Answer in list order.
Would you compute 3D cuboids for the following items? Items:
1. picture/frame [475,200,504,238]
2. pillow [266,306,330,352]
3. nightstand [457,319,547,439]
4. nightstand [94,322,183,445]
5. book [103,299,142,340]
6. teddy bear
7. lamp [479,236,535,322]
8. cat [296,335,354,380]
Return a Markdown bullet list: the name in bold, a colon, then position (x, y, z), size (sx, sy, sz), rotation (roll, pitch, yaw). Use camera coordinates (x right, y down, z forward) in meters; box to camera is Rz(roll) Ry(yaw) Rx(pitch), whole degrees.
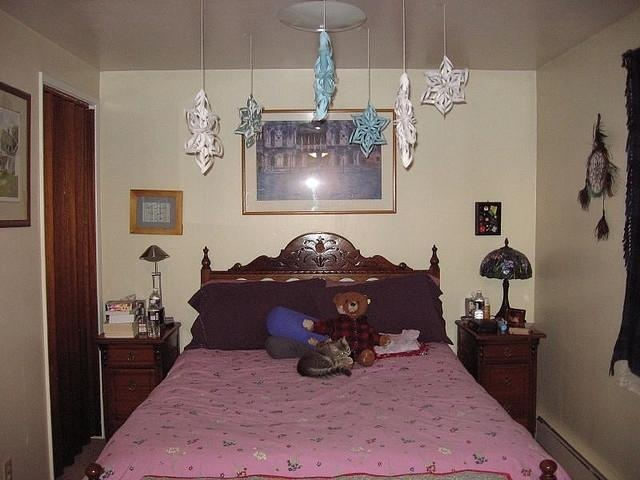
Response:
- **picture/frame**: position (1.435, -0.185, 4.317), size (0.328, 0.320, 0.079), rotation (-5, 3, -17)
- **pillow**: position (-0.161, 0.628, 3.616), size (0.404, 0.221, 0.151), rotation (18, -25, 5)
- **nightstand**: position (1.485, 1.069, 4.132), size (0.556, 0.880, 0.730), rotation (-6, 15, 0)
- **nightstand**: position (-1.411, 1.075, 4.023), size (0.640, 1.117, 0.758), rotation (-1, 2, -5)
- **book**: position (-1.533, 0.614, 3.925), size (0.316, 0.344, 0.247), rotation (0, -4, -5)
- **teddy bear**: position (0.220, 0.620, 3.575), size (0.617, 0.551, 0.380), rotation (7, -12, -20)
- **lamp**: position (1.533, 0.325, 4.191), size (0.471, 0.631, 0.486), rotation (-2, 3, -22)
- **cat**: position (0.024, 0.793, 3.409), size (0.327, 0.214, 0.438), rotation (-3, 9, 42)
